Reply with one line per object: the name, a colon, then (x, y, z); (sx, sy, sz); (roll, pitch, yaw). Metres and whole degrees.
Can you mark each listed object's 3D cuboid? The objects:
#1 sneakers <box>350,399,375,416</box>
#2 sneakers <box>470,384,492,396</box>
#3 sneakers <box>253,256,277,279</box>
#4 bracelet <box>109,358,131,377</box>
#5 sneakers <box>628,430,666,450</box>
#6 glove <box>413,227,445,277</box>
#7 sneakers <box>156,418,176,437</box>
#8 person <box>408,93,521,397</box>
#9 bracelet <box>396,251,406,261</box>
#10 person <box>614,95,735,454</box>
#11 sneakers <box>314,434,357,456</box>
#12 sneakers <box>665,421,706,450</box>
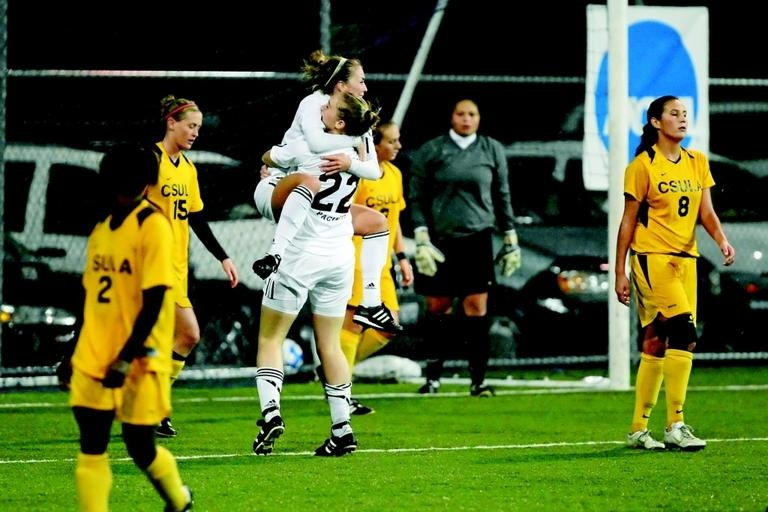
sneakers: (-0.181, 1.494, 11.020); (0.297, 0.128, 0.100); (0, -1, -6)
sneakers: (1.086, 1.447, 12.086); (0.188, 0.075, 0.120); (-1, 0, 12)
sneakers: (-0.918, 0.073, 8.659); (0.200, 0.130, 0.077); (-34, 15, -2)
bracelet: (-1.652, 0.693, 7.048); (0.099, 0.094, 0.095); (26, -10, -41)
sneakers: (2.205, 1.530, 9.263); (0.290, 0.127, 0.135); (0, 0, 20)
glove: (0.509, -0.061, 11.934); (0.338, 0.508, 0.153); (-24, -19, -9)
sneakers: (-1.919, 1.528, 9.895); (0.104, 0.135, 0.297); (5, -8, -43)
person: (0.858, -0.103, 12.078); (1.149, 3.209, 0.480); (1, -2, -1)
bracelet: (0.193, -0.009, 11.510); (0.083, 0.062, 0.084); (0, -6, 8)
person: (2.367, 0.121, 9.266); (0.834, 2.951, 0.448); (1, -2, 6)
sneakers: (-0.365, 1.540, 9.079); (0.394, 0.197, 0.145); (-2, -4, 9)
sneakers: (2.483, 1.479, 9.208); (0.375, 0.188, 0.171); (1, 3, 9)
